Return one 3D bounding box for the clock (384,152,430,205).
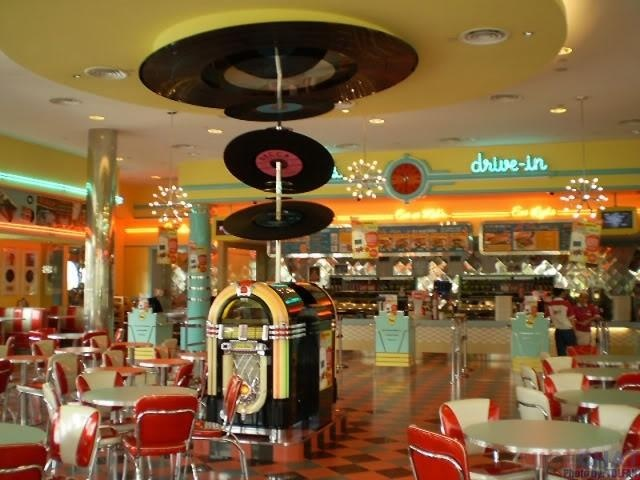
[{"bbox_3d":[2.034,-1.378,11.991,0.201,1.071,1.437,-6,8,-35],"label":"clock"}]

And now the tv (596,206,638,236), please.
[{"bbox_3d":[6.838,-0.448,12.020,1.062,0.604,0.470,1,1,11],"label":"tv"}]
